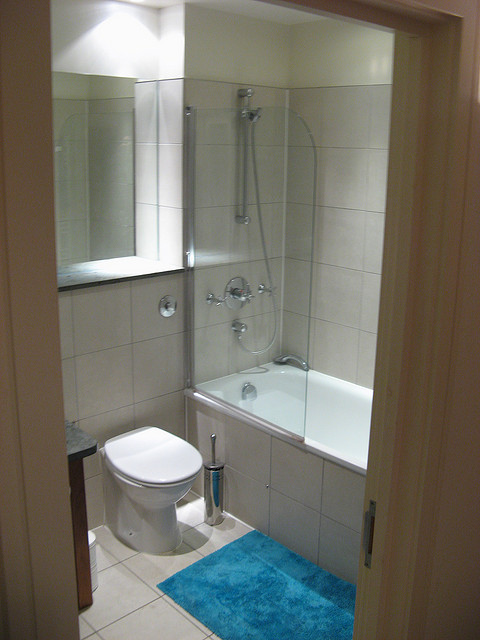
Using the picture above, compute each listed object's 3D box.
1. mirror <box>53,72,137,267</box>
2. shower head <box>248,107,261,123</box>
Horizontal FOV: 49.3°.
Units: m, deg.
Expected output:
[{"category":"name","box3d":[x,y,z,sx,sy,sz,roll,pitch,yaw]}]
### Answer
[{"category":"mirror","box3d":[-0.744,-0.771,2.703,0.075,0.964,0.488,11,15,41]},{"category":"shower head","box3d":[0.072,-1.008,2.576,0.056,0.119,0.064,4,9,-7]}]
